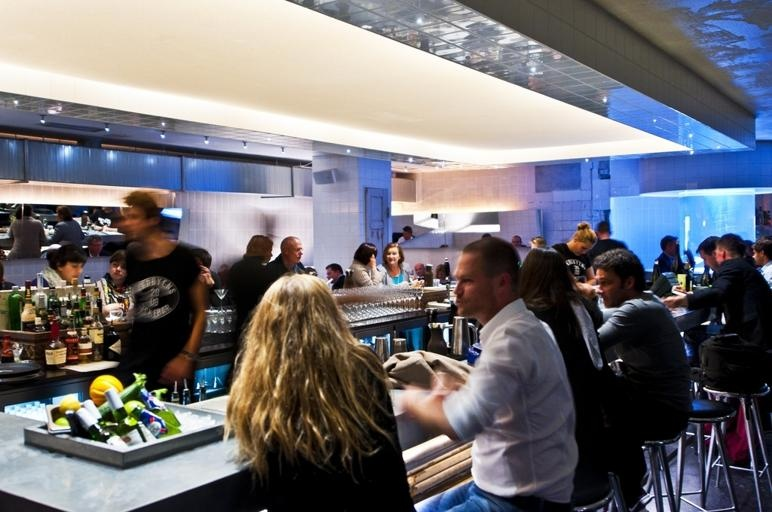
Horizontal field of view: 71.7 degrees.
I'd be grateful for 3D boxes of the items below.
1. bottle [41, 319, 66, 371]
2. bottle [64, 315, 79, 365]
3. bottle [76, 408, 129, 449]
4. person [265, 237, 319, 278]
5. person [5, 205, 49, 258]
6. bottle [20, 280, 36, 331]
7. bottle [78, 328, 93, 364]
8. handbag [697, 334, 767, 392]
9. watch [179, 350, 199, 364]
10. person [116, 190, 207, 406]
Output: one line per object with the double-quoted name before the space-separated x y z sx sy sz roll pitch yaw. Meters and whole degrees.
"bottle" -2.331 0.601 3.742 0.132 0.343 0.373 -4 4 -33
"bottle" -2.279 0.594 3.857 0.081 0.307 0.275 -4 4 -31
"bottle" -1.012 0.604 1.920 0.234 0.114 0.074 0 4 24
"person" -1.160 0.000 6.623 0.435 0.487 0.797 -7 5 13
"person" -5.929 -0.299 8.772 0.525 0.676 0.283 -4 4 -32
"bottle" -2.615 0.353 3.879 0.090 0.337 0.291 -4 4 -34
"bottle" -2.151 0.659 3.809 0.073 0.185 0.087 0 4 28
"handbag" 2.642 0.805 4.164 0.467 0.408 0.421 -3 3 -21
"watch" -1.189 0.596 3.193 0.086 0.077 0.087 0 -6 34
"person" -1.397 0.202 3.277 0.532 1.211 0.294 -2 3 1
